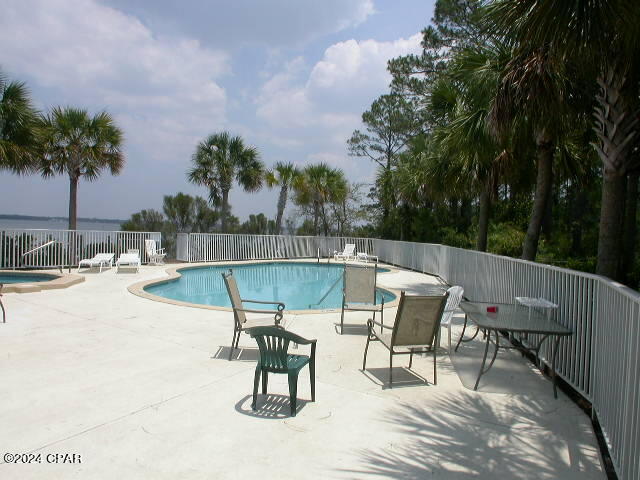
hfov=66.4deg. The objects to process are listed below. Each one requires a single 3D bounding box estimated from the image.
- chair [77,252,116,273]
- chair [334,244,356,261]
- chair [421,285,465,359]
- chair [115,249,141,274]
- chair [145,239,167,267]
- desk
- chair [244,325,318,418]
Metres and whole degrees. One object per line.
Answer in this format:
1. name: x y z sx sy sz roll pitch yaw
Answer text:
1. chair: -7.191 0.772 15.916 0.630 0.631 1.296 -3 -3 0
2. chair: 1.265 0.622 22.888 0.812 1.055 0.671 -2 4 -12
3. chair: 2.231 1.339 8.461 0.820 1.379 0.832 1 -3 -11
4. chair: -6.391 0.723 16.563 0.583 0.530 1.261 0 4 -13
5. chair: -6.478 0.498 19.113 0.840 1.378 0.779 2 4 39
6. desk: 2.815 1.531 7.308 1.296 1.062 1.955 1 1 10
7. chair: -0.409 1.456 6.126 0.849 1.444 0.903 1 2 23
